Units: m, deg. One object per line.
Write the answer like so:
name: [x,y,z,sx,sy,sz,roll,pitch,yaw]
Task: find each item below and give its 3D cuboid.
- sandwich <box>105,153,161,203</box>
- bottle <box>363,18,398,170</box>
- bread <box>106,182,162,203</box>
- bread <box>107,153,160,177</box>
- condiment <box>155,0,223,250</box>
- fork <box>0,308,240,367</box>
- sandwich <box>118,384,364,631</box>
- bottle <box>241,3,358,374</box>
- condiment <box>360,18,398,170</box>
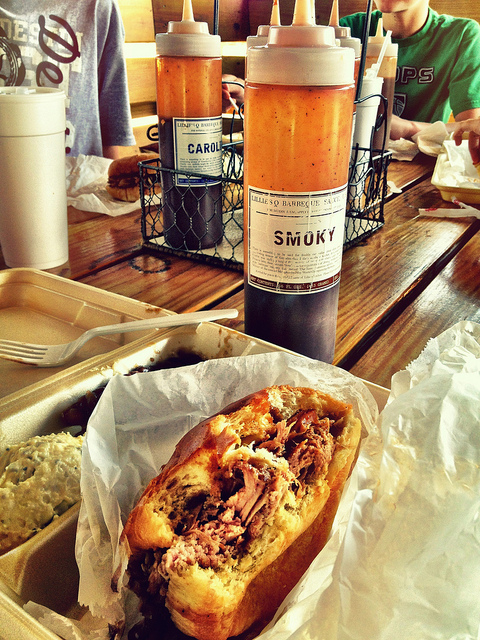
sandwich: [-0.243,-0.305,1.095,0.120,0.084,0.170,4,21,15]
bottle: [0.341,-0.552,1.230,0.074,0.331,0.077,-4,21,1]
bread: [-0.258,-0.283,1.128,0.094,0.034,0.097,-4,17,-12]
bread: [-0.233,-0.334,1.061,0.124,0.044,0.127,-8,15,-6]
condiment: [-0.080,-0.290,0.798,0.110,0.368,0.084,-3,26,-4]
fork: [-0.132,0.021,0.568,0.207,0.031,0.029,-7,44,-3]
sandwich: [0.002,0.119,0.354,0.178,0.107,0.064,-46,2,-18]
bottle: [0.047,-0.102,0.487,0.112,0.344,0.142,4,27,11]
condiment: [0.343,-0.561,1.228,0.091,0.277,0.094,13,31,33]
